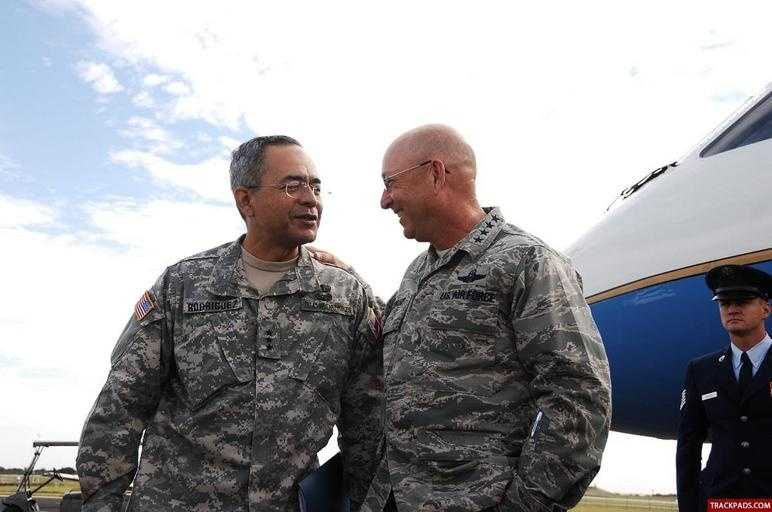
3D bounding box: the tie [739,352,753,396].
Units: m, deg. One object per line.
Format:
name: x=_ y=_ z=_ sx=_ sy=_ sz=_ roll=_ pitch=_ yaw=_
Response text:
tie: x=2.917 y=0.945 z=4.499 sx=0.084 sy=0.364 sz=0.090 roll=6 pitch=-42 yaw=23
